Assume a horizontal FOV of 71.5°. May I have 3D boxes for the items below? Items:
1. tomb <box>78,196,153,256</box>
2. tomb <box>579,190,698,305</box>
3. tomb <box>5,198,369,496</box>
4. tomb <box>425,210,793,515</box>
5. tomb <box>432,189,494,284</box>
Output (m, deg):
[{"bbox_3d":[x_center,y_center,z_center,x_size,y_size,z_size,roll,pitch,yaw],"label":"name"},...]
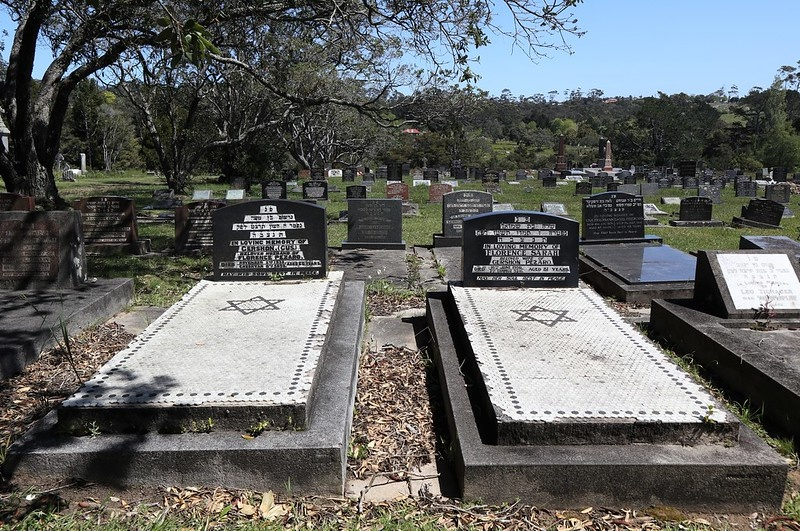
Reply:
[{"bbox_3d":[-6.628,-0.879,12.564,1.607,1.308,0.805,-4,15,-9],"label":"tomb"},{"bbox_3d":[4.223,-0.218,10.238,2.044,1.698,2.804,-2,12,3],"label":"tomb"},{"bbox_3d":[-1.817,0.479,6.076,2.669,2.101,3.892,-2,12,0],"label":"tomb"},{"bbox_3d":[1.603,0.831,5.817,1.996,1.201,3.399,0,4,0],"label":"tomb"},{"bbox_3d":[1.524,-1.113,13.722,1.781,1.450,0.761,-5,12,-21],"label":"tomb"}]
